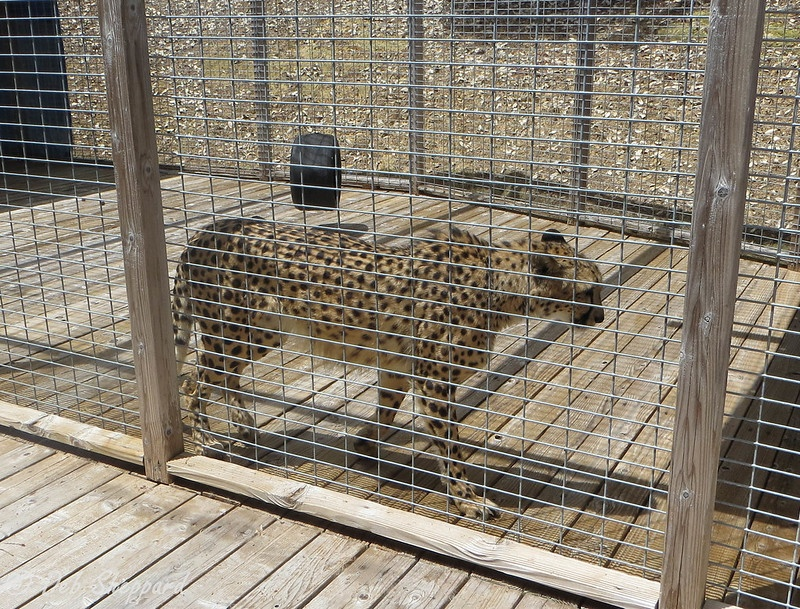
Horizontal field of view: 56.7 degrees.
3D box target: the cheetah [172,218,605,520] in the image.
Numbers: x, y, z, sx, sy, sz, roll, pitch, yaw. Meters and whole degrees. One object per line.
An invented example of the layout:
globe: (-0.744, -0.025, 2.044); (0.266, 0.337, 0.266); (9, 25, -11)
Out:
cheetah: (-0.102, 0.248, 3.510); (2.318, 1.166, 0.492); (7, 14, 22)
